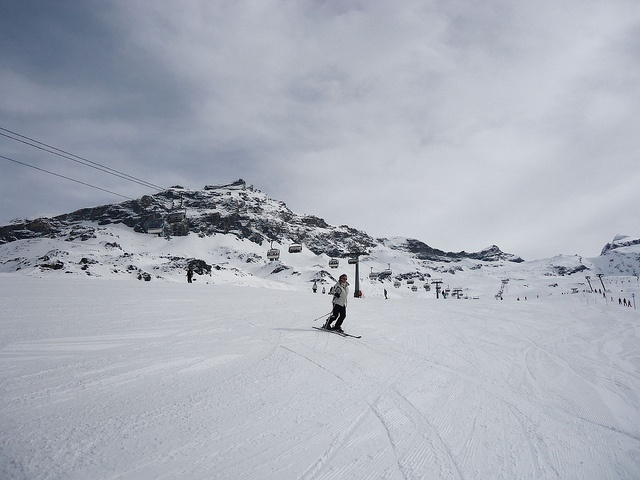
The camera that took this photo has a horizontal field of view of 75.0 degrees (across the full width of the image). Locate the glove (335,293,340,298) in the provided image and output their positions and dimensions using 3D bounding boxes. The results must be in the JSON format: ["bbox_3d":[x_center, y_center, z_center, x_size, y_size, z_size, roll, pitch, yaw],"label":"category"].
[{"bbox_3d":[0.557,1.821,13.664,0.136,0.123,0.031,-3,-38,-5],"label":"glove"}]
